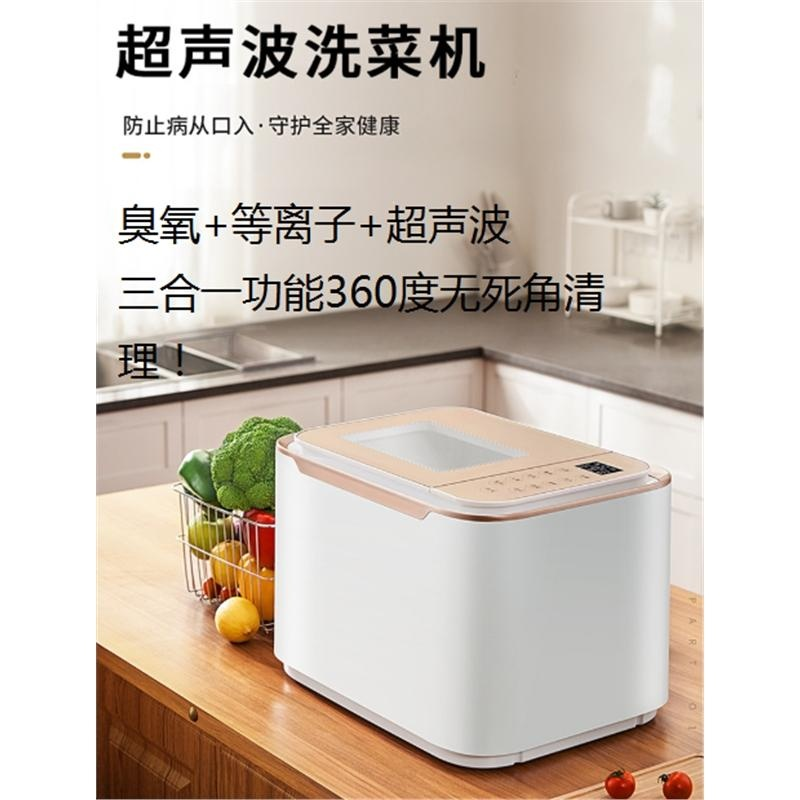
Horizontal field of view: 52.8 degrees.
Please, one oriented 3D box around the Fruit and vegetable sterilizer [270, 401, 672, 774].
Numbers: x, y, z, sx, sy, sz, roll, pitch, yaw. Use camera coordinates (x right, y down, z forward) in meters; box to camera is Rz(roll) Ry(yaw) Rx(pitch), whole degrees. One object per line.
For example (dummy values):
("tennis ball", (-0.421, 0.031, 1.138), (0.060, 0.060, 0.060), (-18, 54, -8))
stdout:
("Fruit and vegetable sterilizer", (0.078, 0.157, 1.050), (0.363, 0.381, 0.504), (-4, 10, -32))
